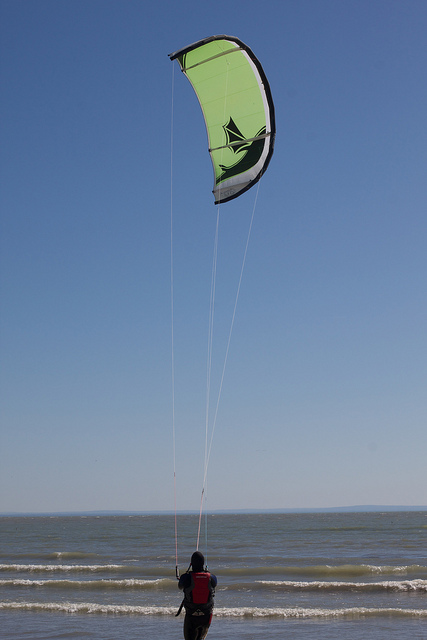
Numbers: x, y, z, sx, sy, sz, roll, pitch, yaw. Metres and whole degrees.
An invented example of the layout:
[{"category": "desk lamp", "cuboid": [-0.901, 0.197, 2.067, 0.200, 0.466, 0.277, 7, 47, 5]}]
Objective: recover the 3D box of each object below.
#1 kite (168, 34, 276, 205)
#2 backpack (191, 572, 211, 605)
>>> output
[{"category": "kite", "cuboid": [0.309, -3.610, 16.782, 1.596, 0.759, 3.676, -16, -44, 4]}, {"category": "backpack", "cuboid": [-0.196, 4.118, 14.303, 0.367, 0.577, 0.303, 3, -15, 0]}]
